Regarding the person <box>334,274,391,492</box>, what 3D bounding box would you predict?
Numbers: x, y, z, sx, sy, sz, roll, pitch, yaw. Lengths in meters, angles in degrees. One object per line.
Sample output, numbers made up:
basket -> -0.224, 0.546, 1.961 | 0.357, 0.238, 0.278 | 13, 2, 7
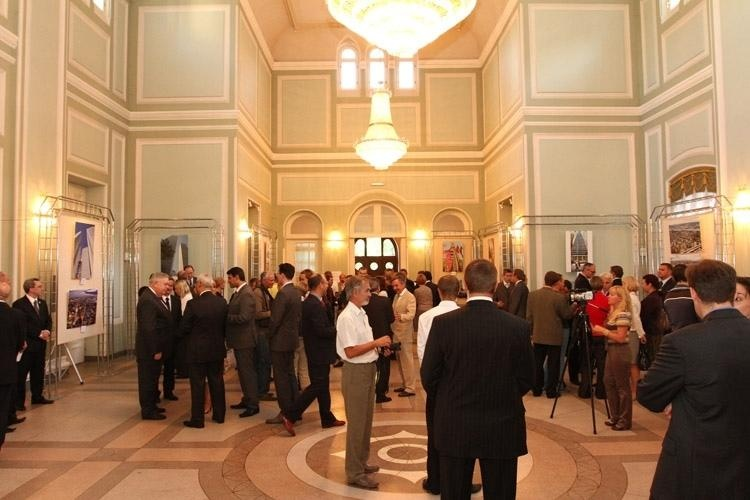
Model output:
person -> -0.159, 1.553, 6.751 | 0.591, 2.442, 0.581 | 0, 7, 3

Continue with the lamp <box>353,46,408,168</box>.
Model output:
lamp -> 0.141, -2.917, 13.378 | 1.168, 1.880, 0.775 | 0, 7, 5

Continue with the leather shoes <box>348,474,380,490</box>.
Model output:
leather shoes -> -0.128, 2.745, 6.723 | 0.308, 0.124, 0.153 | -2, -1, 14

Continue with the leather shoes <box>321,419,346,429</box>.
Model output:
leather shoes -> -0.602, 2.478, 8.179 | 0.326, 0.136, 0.116 | -4, 0, -22

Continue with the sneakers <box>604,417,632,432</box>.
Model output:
sneakers -> 3.420, 2.423, 7.931 | 0.401, 0.276, 0.144 | 2, -5, 21

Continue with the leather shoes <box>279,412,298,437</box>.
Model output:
leather shoes -> -1.198, 2.411, 7.877 | 0.154, 0.394, 0.133 | -8, 15, 6

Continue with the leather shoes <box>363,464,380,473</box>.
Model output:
leather shoes -> -0.044, 2.669, 6.920 | 0.135, 0.053, 0.105 | 4, -5, -7

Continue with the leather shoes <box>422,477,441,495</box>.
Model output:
leather shoes -> 0.637, 2.721, 6.593 | 0.131, 0.212, 0.216 | 1, 10, -11

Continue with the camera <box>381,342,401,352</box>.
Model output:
camera -> 0.178, 1.165, 6.823 | 0.319, 0.097, 0.321 | -2, -8, 8
